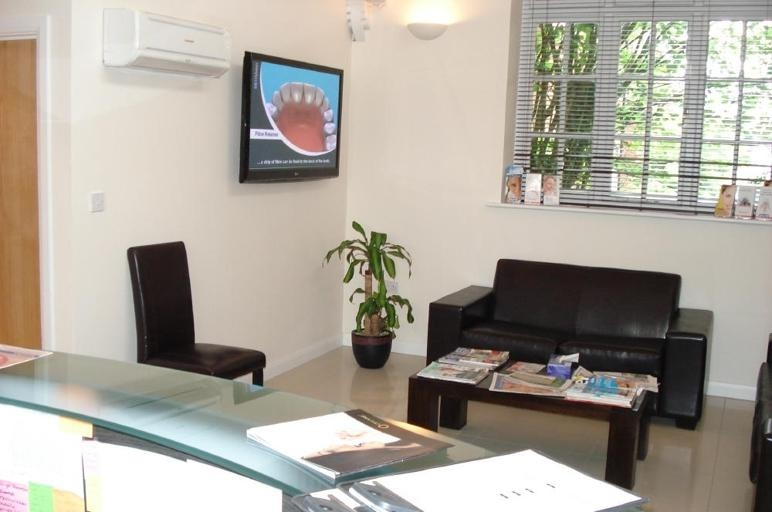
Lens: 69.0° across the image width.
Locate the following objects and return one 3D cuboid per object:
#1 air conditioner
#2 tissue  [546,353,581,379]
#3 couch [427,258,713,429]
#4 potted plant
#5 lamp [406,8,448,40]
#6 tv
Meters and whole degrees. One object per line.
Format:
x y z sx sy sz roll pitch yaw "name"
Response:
-1.376 -1.349 3.570 0.301 0.340 0.734 11 15 33 "air conditioner"
1.137 0.703 3.617 0.175 0.100 0.173 5 13 27 "tissue "
1.512 0.649 4.608 2.054 1.022 0.973 4 10 30 "couch"
-0.140 0.312 5.281 0.882 1.300 0.829 2 13 -6 "potted plant"
0.390 -2.149 5.187 0.372 0.271 0.194 4 13 4 "lamp"
-0.793 -1.137 4.528 0.188 0.927 1.357 5 4 25 "tv"
